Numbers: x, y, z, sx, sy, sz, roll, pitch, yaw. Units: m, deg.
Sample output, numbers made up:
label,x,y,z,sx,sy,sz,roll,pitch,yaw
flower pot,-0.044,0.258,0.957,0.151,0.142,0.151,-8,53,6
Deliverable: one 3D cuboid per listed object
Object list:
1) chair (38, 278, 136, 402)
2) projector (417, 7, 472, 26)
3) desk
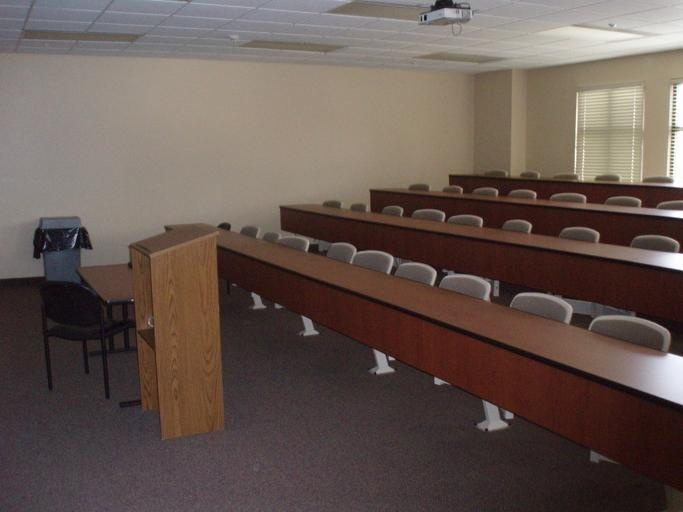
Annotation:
label,x,y,z,sx,sy,sz,roll,pitch,yaw
chair,-2.253,0.671,4.150,0.698,1.018,0.358,2,13,15
projector,1.188,-2.628,5.172,0.332,0.126,0.334,-9,20,-22
desk,-2.126,0.747,4.292,0.546,0.520,1.067,-3,10,-26
